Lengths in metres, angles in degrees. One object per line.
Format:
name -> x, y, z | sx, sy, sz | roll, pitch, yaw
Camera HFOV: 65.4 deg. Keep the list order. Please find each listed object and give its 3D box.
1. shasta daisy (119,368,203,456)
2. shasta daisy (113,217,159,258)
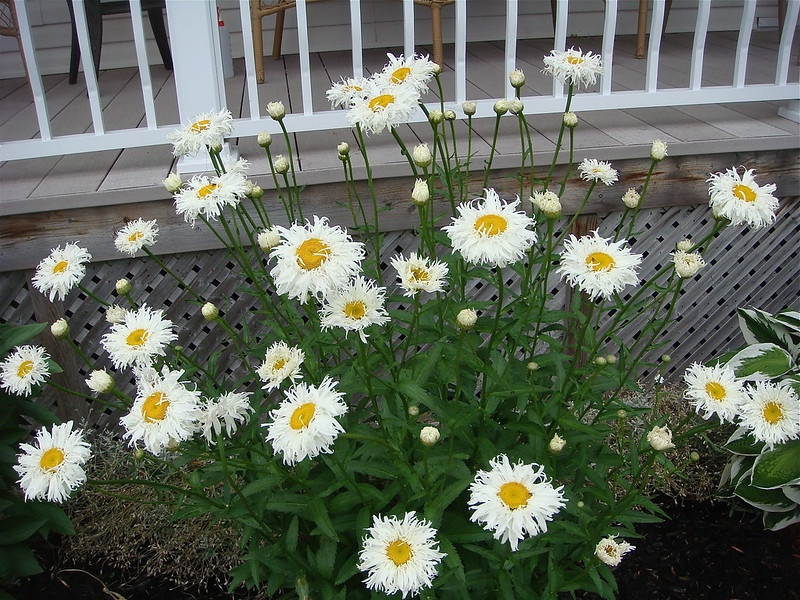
shasta daisy -> -0.649, 0.353, 1.816 | 0.229, 0.079, 0.235 | 35, 73, 21
shasta daisy -> -1.136, -0.278, 2.669 | 0.169, 0.061, 0.174 | 12, 59, 46
